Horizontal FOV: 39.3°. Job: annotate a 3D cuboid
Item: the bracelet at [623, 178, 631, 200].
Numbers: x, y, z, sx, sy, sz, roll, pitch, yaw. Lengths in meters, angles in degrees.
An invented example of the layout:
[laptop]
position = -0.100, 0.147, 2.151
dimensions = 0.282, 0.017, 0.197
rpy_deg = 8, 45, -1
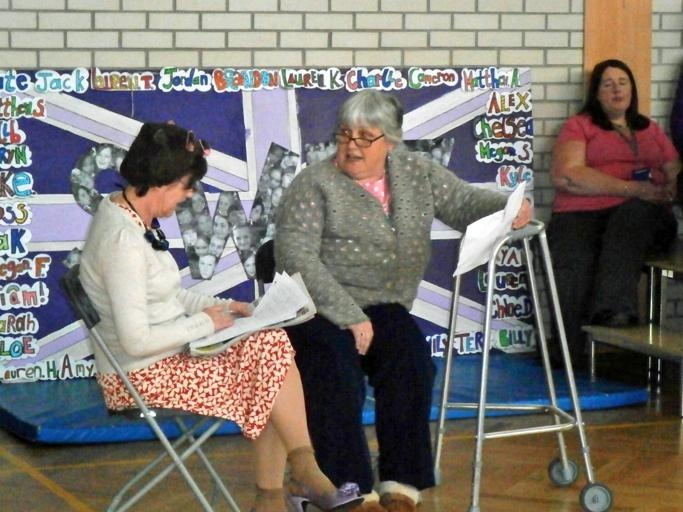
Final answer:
[bracelet]
position = 1.747, -0.401, 5.822
dimensions = 0.044, 0.097, 0.021
rpy_deg = 1, 12, 18

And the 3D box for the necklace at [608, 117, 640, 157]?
[necklace]
position = 1.769, -0.762, 6.012
dimensions = 0.152, 0.278, 0.059
rpy_deg = -12, -13, -25

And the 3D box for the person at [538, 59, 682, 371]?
[person]
position = 1.682, -0.300, 5.942
dimensions = 0.832, 1.763, 0.685
rpy_deg = -12, 15, -38
